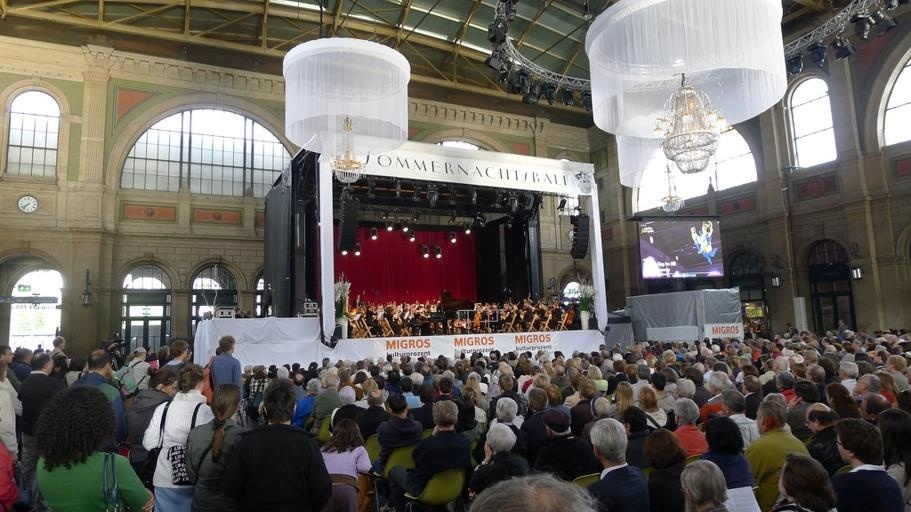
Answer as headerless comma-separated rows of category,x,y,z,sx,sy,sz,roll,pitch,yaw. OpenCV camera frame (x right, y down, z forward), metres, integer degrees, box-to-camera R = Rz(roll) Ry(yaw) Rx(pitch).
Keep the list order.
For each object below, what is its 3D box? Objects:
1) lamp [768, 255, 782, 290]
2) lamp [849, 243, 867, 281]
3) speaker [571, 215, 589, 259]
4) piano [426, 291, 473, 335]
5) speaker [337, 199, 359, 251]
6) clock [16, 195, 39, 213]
lamp,12.746,0.596,28.751,0.581,1.333,0.266,-11,-12,39
lamp,14.935,0.184,26.875,0.459,1.444,0.161,-8,-11,28
speaker,4.621,-0.746,26.693,0.662,1.533,0.993,-3,-9,-3
piano,-0.526,2.026,26.838,1.649,1.696,1.243,-6,8,-33
speaker,-3.503,-1.071,23.638,0.524,1.622,0.780,0,-10,-16
clock,-15.797,-1.920,26.635,0.559,0.551,0.052,-18,6,-30
